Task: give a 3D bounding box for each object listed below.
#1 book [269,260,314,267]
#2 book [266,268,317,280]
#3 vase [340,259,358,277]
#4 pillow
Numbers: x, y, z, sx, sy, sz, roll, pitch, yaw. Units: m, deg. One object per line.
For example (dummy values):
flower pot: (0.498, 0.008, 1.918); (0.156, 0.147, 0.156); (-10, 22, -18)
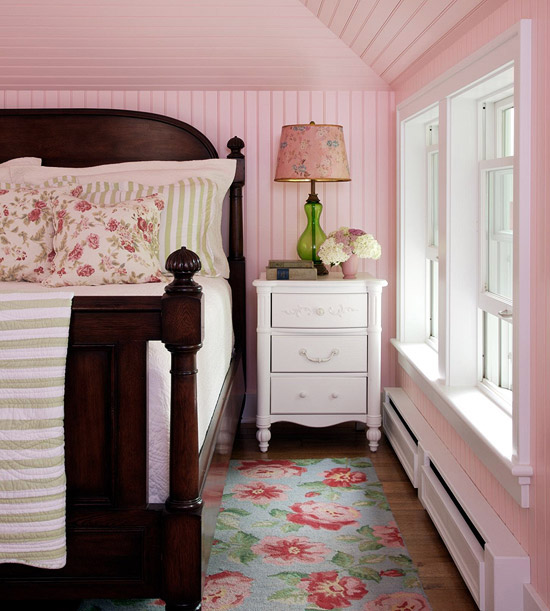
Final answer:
book: (0.072, -0.178, 2.742); (0.200, 0.030, 0.081); (2, 5, 29)
book: (0.074, -0.137, 2.726); (0.224, 0.056, 0.037); (0, 5, 4)
vase: (0.352, -0.169, 2.864); (0.099, 0.081, 0.085); (-1, 7, 4)
pillow: (-0.543, -0.375, 2.537); (0.998, 0.565, 0.246); (1, -1, 6)
